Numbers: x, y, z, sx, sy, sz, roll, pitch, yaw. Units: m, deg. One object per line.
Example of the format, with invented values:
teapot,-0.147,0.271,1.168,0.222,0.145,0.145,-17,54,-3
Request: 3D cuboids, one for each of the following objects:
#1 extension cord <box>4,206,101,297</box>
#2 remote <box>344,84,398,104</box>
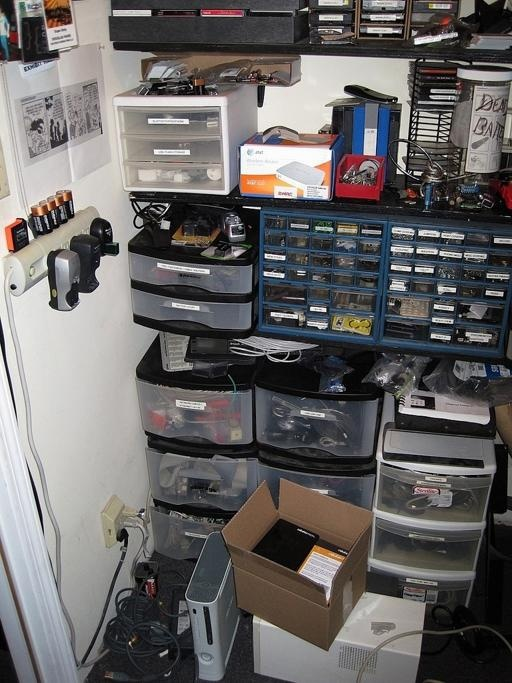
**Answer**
extension cord,-0.443,-0.191,1.182,0.040,0.061,0.238,-2,29,20
remote,0.325,-0.718,1.601,0.119,0.062,0.199,-4,20,-10
